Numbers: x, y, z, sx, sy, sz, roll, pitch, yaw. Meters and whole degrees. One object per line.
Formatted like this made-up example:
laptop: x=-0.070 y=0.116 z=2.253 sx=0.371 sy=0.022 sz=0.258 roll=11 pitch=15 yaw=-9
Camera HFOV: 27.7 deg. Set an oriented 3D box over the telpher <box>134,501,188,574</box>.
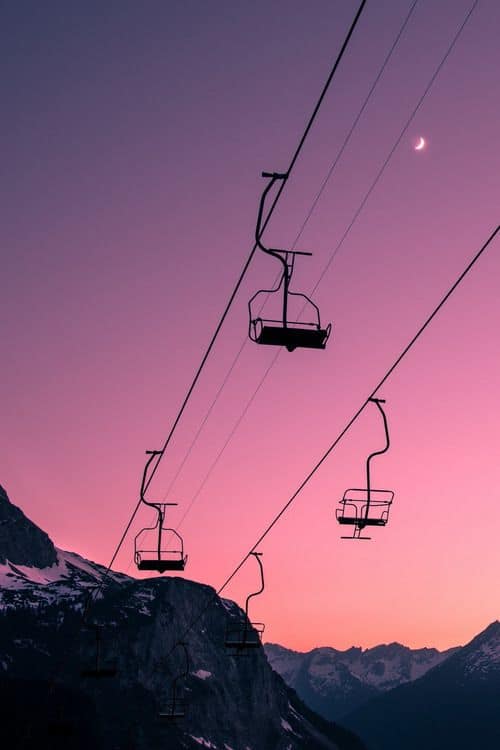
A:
telpher: x=-5.585 y=10.181 z=64.366 sx=3.044 sy=4.633 sz=1.942 roll=3 pitch=-11 yaw=-8
